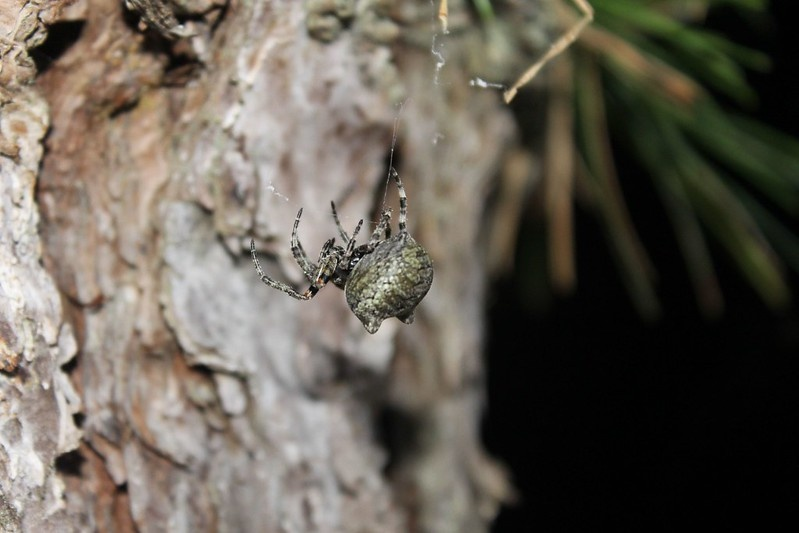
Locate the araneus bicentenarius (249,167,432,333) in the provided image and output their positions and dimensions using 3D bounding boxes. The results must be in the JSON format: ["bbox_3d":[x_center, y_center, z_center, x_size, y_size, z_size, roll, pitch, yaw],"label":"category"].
[{"bbox_3d":[-0.072,-0.021,2.544,0.322,0.172,0.354,41,102,20],"label":"araneus bicentenarius"}]
